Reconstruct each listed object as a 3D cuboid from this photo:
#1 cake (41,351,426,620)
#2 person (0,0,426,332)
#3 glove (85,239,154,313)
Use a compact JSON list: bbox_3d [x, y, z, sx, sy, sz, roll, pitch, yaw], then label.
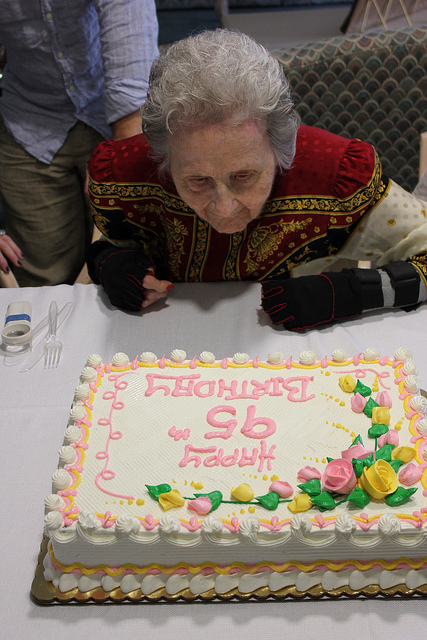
[{"bbox_3d":[0.077,0.346,1.428,0.998,0.250,0.699,-2,37,-2],"label":"cake"},{"bbox_3d":[-0.234,-0.609,2.515,1.385,0.946,2.085,-2,24,-8],"label":"person"},{"bbox_3d":[-0.361,-0.192,2.198,0.250,0.177,0.421,-12,38,-13],"label":"glove"}]
